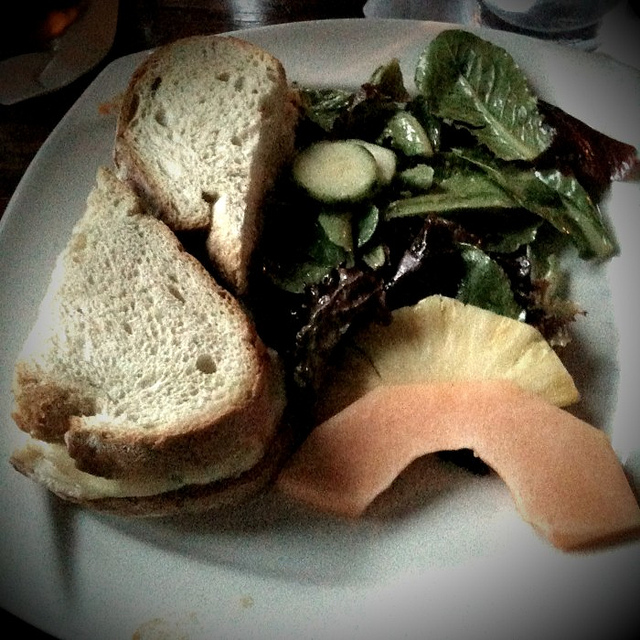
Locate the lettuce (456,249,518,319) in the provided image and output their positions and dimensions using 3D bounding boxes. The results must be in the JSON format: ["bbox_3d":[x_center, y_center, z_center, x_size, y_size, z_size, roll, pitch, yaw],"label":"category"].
[{"bbox_3d":[0.429,-0.086,2.008,0.115,0.167,0.143,-21,32,-36],"label":"lettuce"}]

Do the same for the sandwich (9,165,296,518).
[{"bbox_3d":[-0.435,0.036,1.885,0.486,0.214,0.847,-18,65,-4],"label":"sandwich"}]
